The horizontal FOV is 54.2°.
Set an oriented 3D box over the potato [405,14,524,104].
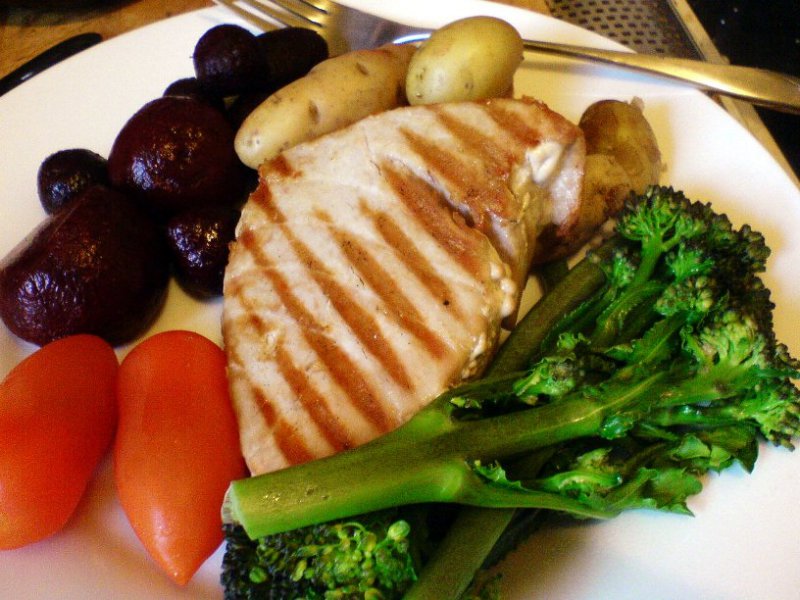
[{"bbox_3d":[0.215,-0.792,2.723,0.374,0.230,0.264,-21,73,-11],"label":"potato"}]
